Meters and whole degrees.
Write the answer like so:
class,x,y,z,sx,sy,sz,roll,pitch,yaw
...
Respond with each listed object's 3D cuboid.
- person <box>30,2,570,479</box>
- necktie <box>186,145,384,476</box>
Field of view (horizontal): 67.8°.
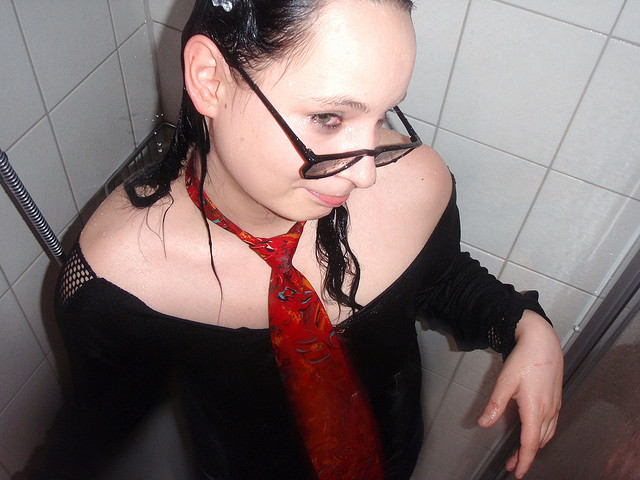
class,x,y,z,sx,sy,sz,roll,pitch,yaw
person,-0.052,0.005,1.103,0.873,0.999,0.543,-28,52,-27
necktie,-0.014,0.291,1.081,0.268,0.964,0.034,-16,31,-8
